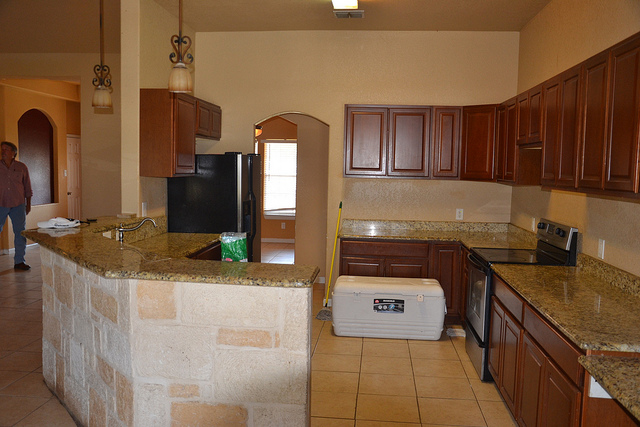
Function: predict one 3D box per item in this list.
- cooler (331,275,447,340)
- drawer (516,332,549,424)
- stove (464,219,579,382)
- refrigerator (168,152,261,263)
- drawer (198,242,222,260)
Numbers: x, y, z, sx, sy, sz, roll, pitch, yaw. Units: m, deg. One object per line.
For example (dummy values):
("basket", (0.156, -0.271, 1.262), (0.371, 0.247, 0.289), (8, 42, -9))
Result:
("cooler", (0.789, 1.079, 5.368), (1.080, 0.534, 0.689), (1, 5, 3))
("drawer", (1.579, 1.284, 3.538), (0.161, 0.509, 0.446), (0, 6, 8))
("stove", (1.870, 0.796, 4.986), (1.129, 1.402, 1.268), (2, 6, 5))
("refrigerator", (-1.267, -0.019, 5.724), (1.139, 1.453, 0.666), (-1, 11, -16))
("drawer", (-1.216, 0.431, 5.199), (0.204, 0.278, 0.295), (1, 7, 3))
